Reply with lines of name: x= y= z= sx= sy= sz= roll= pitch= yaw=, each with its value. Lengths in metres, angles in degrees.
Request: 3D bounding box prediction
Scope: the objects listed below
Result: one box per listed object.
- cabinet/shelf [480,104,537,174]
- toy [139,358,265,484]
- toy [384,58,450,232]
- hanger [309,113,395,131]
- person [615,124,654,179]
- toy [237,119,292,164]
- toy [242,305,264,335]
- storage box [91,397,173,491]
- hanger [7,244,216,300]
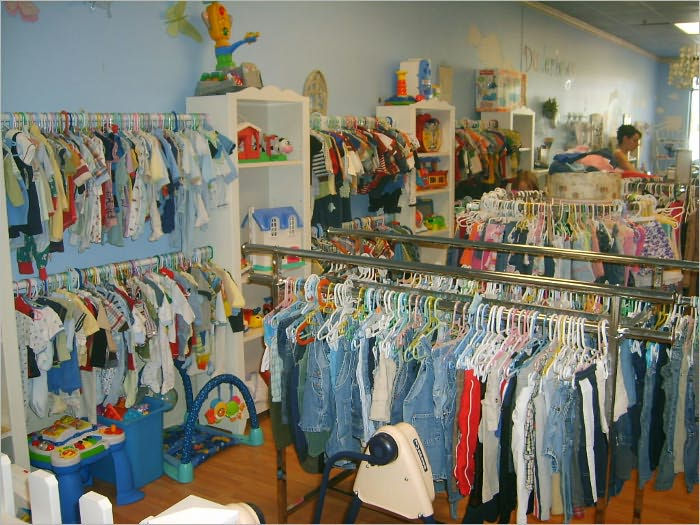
cabinet/shelf: x=1.729 y=-1.376 z=7.113 sx=0.321 sy=1.208 sz=0.684 roll=10 pitch=17 yaw=37
toy: x=-0.938 y=1.045 z=4.093 sx=0.620 sy=0.553 sz=0.618 roll=5 pitch=4 yaw=44
toy: x=0.600 y=-1.035 z=5.727 sx=0.554 sy=1.587 sz=0.936 roll=5 pitch=9 yaw=26
hanger: x=0.037 y=-1.098 z=5.067 sx=0.352 sy=0.151 sz=1.008 roll=8 pitch=12 yaw=36
person: x=3.898 y=-1.485 z=8.692 sx=0.411 sy=0.795 sz=0.668 roll=-7 pitch=15 yaw=-38
toy: x=-0.553 y=-0.784 z=4.193 sx=0.207 sy=0.247 sz=0.509 roll=4 pitch=10 yaw=18
toy: x=-0.653 y=0.398 z=4.381 sx=0.116 sy=0.205 sz=0.192 roll=-1 pitch=-3 yaw=22
storage box: x=-1.311 y=1.031 z=3.889 sx=0.413 sy=0.554 sz=0.427 roll=2 pitch=3 yaw=31
hanger: x=-1.275 y=0.053 z=3.645 sx=1.152 sy=0.196 sz=0.137 roll=-6 pitch=11 yaw=-39
